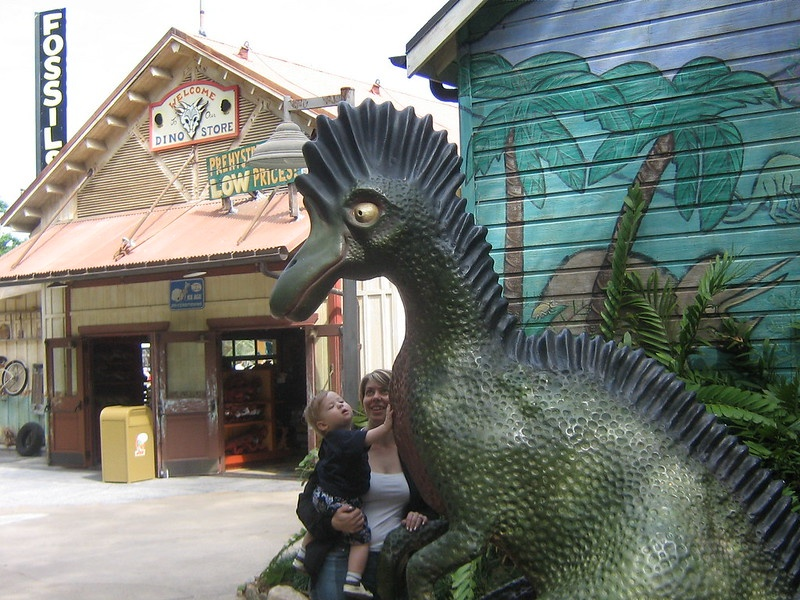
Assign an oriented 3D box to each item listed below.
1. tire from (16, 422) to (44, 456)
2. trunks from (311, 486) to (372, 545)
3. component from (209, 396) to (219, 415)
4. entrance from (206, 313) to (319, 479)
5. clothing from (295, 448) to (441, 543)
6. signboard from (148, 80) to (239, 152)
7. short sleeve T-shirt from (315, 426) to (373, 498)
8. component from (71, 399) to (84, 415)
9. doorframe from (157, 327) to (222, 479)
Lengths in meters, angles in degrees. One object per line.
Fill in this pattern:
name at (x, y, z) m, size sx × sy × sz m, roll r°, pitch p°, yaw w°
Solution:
tire at (-6.988, 2.613, 14.541) m, size 0.526 × 0.582 × 0.199 m, roll 8°, pitch -16°, yaw 16°
trunks at (-0.323, 1.171, 4.117) m, size 0.246 × 0.349 × 0.170 m, roll -1°, pitch 30°, yaw 8°
component at (-2.841, 1.584, 11.738) m, size 0.139 × 0.254 × 0.056 m, roll -1°, pitch -2°, yaw -25°
entrance at (-2.849, 1.357, 13.444) m, size 2.181 × 2.991 × 2.384 m, roll -3°, pitch 12°, yaw -29°
clothing at (-0.260, 0.955, 4.407) m, size 0.721 × 0.601 × 0.402 m, roll -1°, pitch -11°, yaw -10°
signboard at (-3.350, -3.023, 12.713) m, size 1.401 × 0.883 × 0.115 m, roll -4°, pitch -11°, yaw 26°
short sleeve T-shirt at (-0.251, 0.877, 4.222) m, size 0.349 × 0.352 × 0.297 m, roll -6°, pitch -1°, yaw 28°
component at (-5.411, 1.800, 13.000) m, size 0.092 × 0.249 × 0.248 m, roll 11°, pitch 26°, yaw -19°
doorframe at (-3.232, 1.577, 11.933) m, size 0.925 × 2.164 × 0.539 m, roll -2°, pitch -2°, yaw -8°
